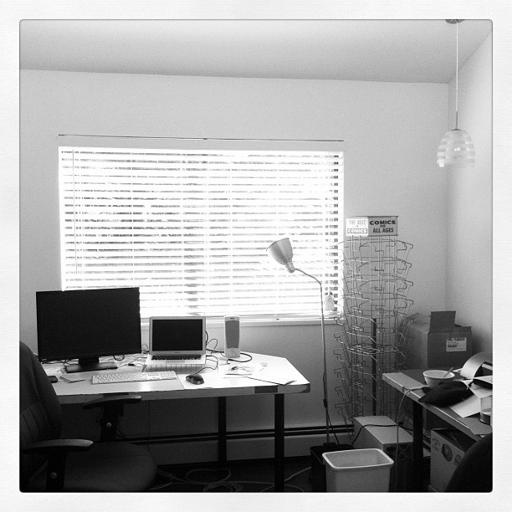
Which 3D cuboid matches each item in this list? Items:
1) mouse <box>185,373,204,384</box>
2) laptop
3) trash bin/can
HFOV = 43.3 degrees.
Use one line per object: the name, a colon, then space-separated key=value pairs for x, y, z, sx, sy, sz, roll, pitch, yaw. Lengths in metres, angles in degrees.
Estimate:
mouse: x=-0.287 y=0.570 z=3.062 sx=0.036 sy=0.026 sz=0.071 roll=1 pitch=0 yaw=-30
laptop: x=-0.410 y=0.433 z=3.397 sx=0.273 sy=0.297 sz=0.232 roll=0 pitch=-3 yaw=-4
trash bin/can: x=0.473 y=1.024 z=2.984 sx=0.278 sy=0.212 sz=0.236 roll=-2 pitch=1 yaw=-9
